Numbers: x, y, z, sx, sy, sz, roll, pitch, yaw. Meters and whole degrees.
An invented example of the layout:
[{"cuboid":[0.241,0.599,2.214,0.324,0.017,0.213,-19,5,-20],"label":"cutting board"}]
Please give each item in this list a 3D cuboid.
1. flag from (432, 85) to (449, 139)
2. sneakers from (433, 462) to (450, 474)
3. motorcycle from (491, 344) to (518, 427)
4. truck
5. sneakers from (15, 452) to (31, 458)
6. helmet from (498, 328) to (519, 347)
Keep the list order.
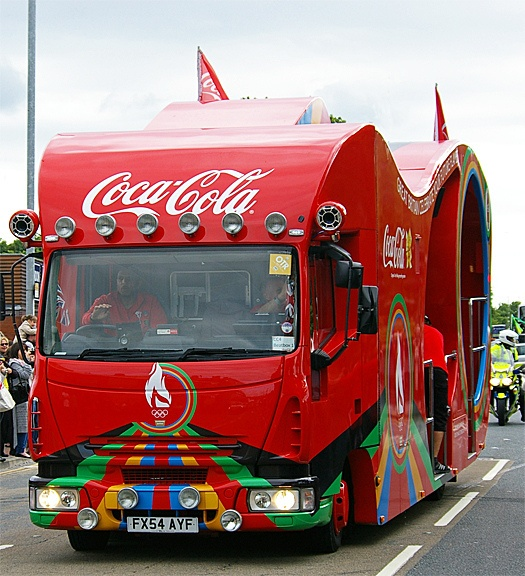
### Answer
[{"cuboid":[2.254,-2.218,12.483,0.206,0.141,0.955,-14,-38,5],"label":"flag"},{"cuboid":[1.808,1.831,9.950,0.079,0.093,0.234,1,3,45],"label":"sneakers"},{"cuboid":[5.022,2.022,20.337,0.597,1.682,1.253,-4,-3,13],"label":"motorcycle"},{"cuboid":[-0.075,0.385,7.384,2.140,2.448,4.240,-2,-1,15],"label":"truck"},{"cuboid":[-3.541,2.504,14.582,0.086,0.100,0.256,4,2,39],"label":"sneakers"},{"cuboid":[5.310,1.103,21.148,0.410,0.337,0.290,0,2,11],"label":"helmet"}]
